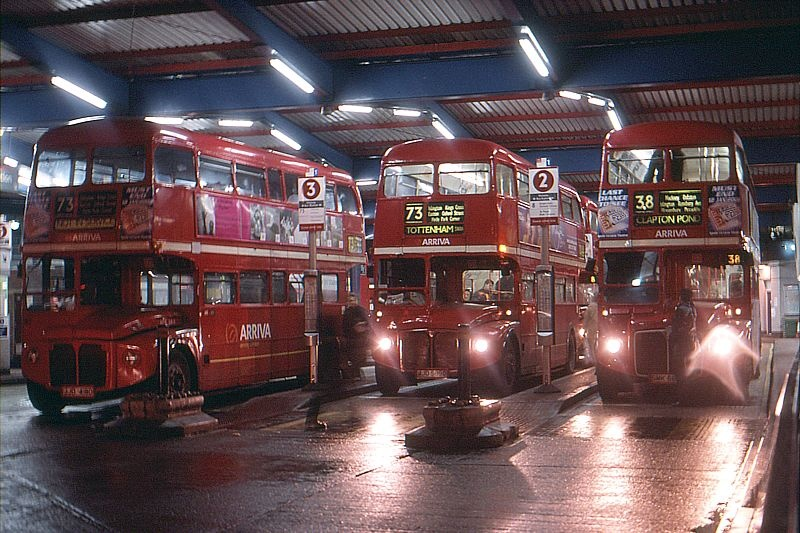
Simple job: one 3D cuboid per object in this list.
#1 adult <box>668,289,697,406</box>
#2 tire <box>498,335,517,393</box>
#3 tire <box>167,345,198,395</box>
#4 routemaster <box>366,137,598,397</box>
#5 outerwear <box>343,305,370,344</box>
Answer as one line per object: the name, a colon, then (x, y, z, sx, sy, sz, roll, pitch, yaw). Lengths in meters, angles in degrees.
adult: (5.917, 1.448, 14.097, 0.518, 1.951, 0.532, -2, -3, 23)
tire: (2.606, 2.354, 16.466, 0.286, 1.551, 1.404, -2, 3, 24)
tire: (-4.516, 2.080, 13.953, 0.364, 1.028, 1.025, -9, -12, 21)
routemaster: (1.352, -0.063, 16.862, 4.100, 6.293, 2.390, -1, -3, -3)
outerwear: (-1.277, 1.532, 18.371, 0.847, 1.253, 0.816, 0, -9, -25)
